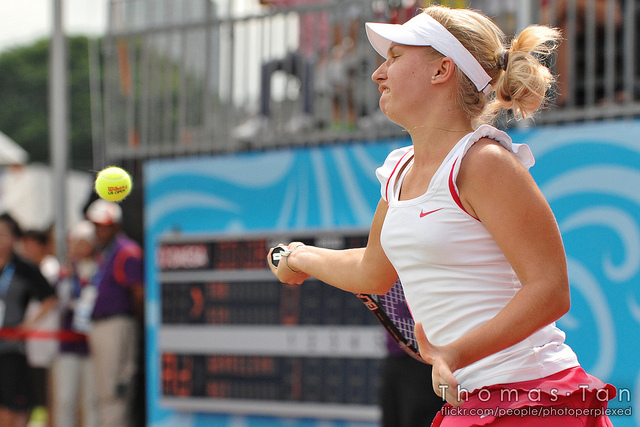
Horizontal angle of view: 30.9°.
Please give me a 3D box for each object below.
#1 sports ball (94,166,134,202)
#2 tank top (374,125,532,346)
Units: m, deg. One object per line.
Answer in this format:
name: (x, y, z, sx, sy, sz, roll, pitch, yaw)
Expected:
sports ball: (-1.476, -0.216, 8.264, 0.240, 0.245, 0.245, -8, -41, -7)
tank top: (0.817, 0.132, 6.925, 0.547, 1.015, 0.999, -14, -13, -40)
